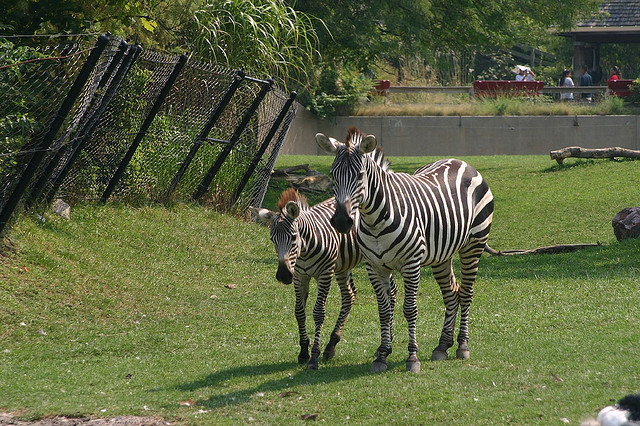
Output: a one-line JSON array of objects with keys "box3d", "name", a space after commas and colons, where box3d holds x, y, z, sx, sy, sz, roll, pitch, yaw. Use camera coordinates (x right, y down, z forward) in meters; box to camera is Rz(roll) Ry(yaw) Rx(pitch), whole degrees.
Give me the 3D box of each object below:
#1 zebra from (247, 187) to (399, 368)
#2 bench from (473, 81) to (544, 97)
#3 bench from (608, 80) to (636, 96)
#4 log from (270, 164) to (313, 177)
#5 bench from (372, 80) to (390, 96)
[{"box3d": [0.127, 0.875, 13.028, 0.808, 2.583, 3.224, -2, 0, 30], "name": "zebra"}, {"box3d": [6.458, -4.357, 30.228, 1.890, 0.710, 0.799, -1, -5, 10], "name": "bench"}, {"box3d": [10.461, -4.272, 30.022, 0.645, 0.478, 0.284, -1, 29, -2], "name": "bench"}, {"box3d": [-0.732, -1.069, 21.685, 0.638, 0.178, 0.450, -16, -3, -11], "name": "log"}, {"box3d": [2.147, -4.388, 30.920, 0.341, 0.628, 0.625, 7, -6, -39], "name": "bench"}]
